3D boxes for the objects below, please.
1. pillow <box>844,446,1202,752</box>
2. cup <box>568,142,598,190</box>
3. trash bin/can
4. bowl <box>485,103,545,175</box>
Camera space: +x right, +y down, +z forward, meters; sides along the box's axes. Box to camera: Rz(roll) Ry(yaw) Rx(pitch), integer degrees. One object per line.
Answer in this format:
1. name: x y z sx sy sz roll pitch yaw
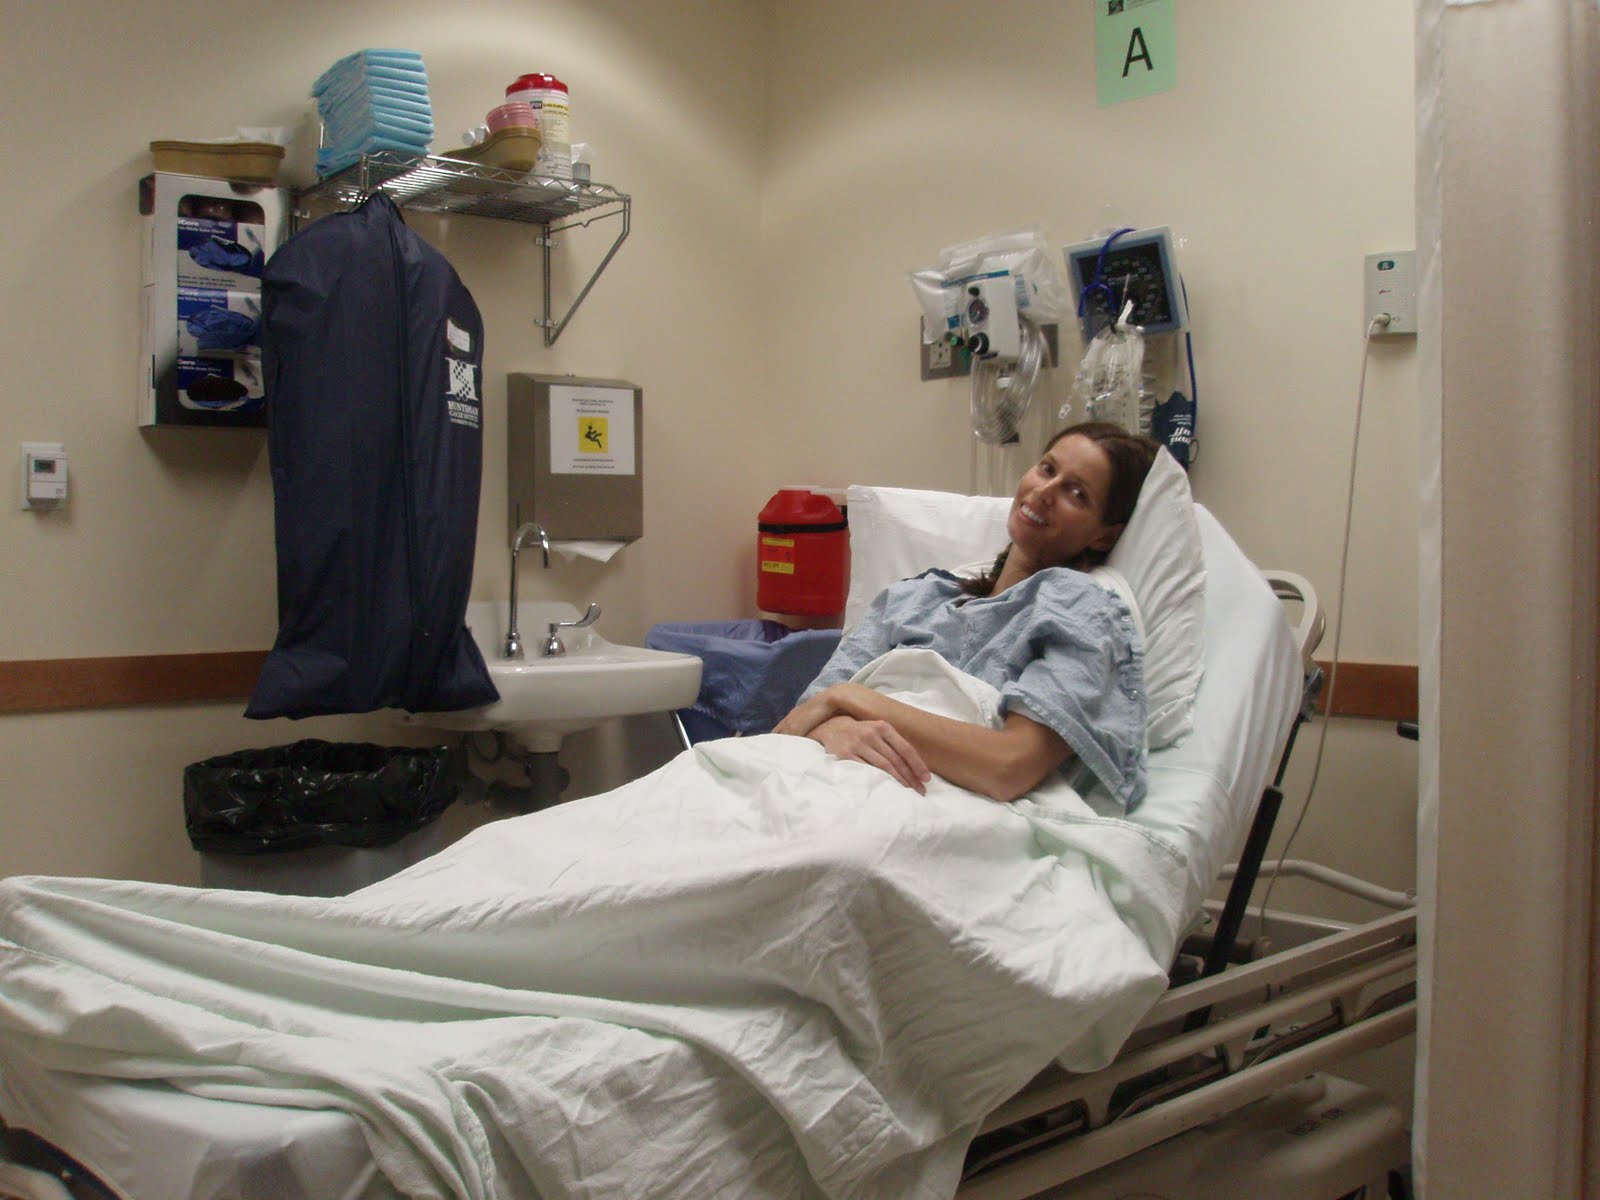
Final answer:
1. pillow: 0.527 -0.056 2.667 0.603 0.582 0.610 0 -2 33
2. cup: -0.567 -1.131 3.360 0.051 0.131 0.169 -2 8 -9
3. trash bin/can: -1.088 0.469 2.940 0.339 0.222 0.460 0 -2 24
4. bowl: -0.717 -1.153 3.239 0.133 0.185 0.179 2 3 22
